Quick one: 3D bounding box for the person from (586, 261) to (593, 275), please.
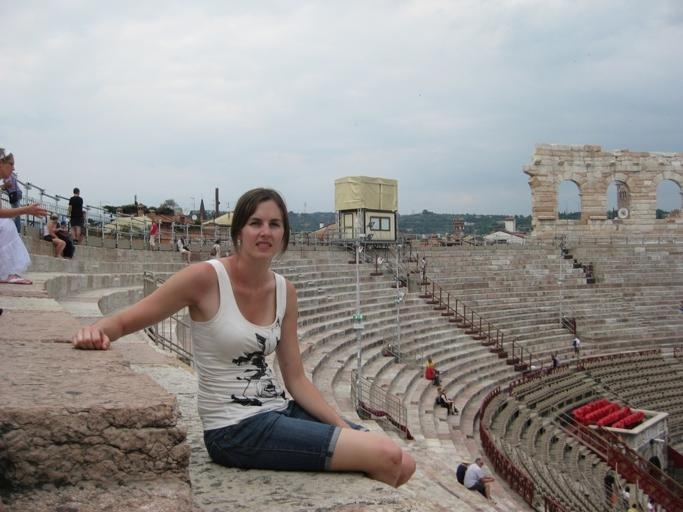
[{"bbox_3d":[13.303,0.667,31.382,0.404,0.643,0.992,1,2,23],"label":"person"}]

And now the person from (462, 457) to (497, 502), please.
[{"bbox_3d":[2.524,4.067,10.699,0.553,0.780,0.359,-2,-2,-6],"label":"person"}]

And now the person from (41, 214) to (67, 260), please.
[{"bbox_3d":[-6.537,-0.468,13.271,0.514,0.932,0.344,7,1,7],"label":"person"}]
